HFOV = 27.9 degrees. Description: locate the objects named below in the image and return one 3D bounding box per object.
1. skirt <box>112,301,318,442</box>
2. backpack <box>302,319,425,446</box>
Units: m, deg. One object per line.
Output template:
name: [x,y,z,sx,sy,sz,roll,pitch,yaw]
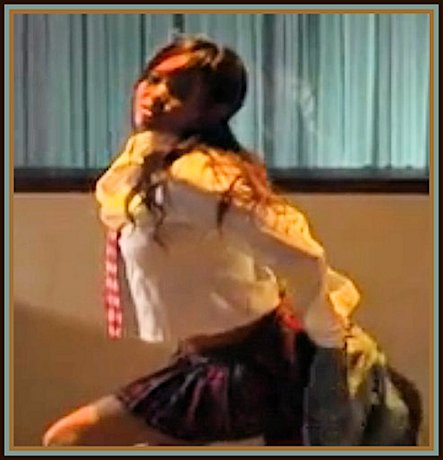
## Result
skirt: [-0.033,0.494,3.065,0.618,0.302,0.381,-10,6,-7]
backpack: [0.505,0.472,3.034,0.320,0.116,0.279,-11,34,39]
